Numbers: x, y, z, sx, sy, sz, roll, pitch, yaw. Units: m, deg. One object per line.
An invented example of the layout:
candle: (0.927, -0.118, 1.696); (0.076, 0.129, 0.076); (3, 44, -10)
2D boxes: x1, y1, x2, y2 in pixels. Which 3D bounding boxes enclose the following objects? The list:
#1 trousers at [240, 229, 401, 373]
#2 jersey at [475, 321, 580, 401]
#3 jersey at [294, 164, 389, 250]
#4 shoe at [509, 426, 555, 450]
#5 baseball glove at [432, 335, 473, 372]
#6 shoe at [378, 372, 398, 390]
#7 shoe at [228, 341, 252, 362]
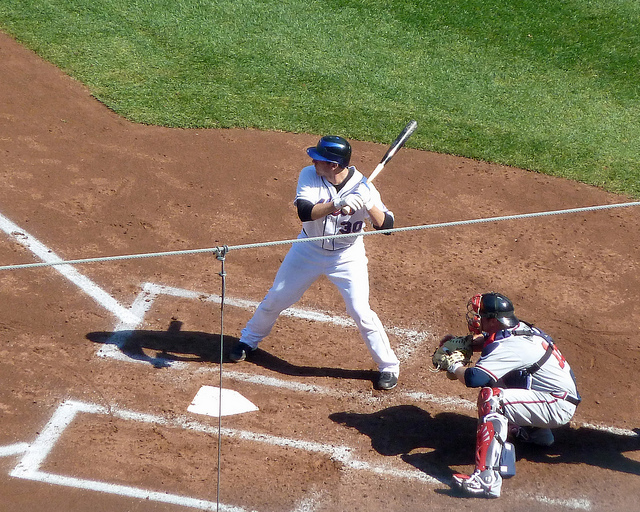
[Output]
trousers: (0.002, 0.559, 10.766); (1.639, 2.041, 0.612); (14, 57, -4)
jersey: (2.127, 1.104, 9.796); (1.049, 0.643, 0.574); (17, 44, 3)
jersey: (0.169, -0.436, 10.649); (1.306, 0.510, 1.177); (0, 12, -5)
shoe: (2.185, 1.852, 9.946); (0.384, 0.220, 0.101); (11, 59, 11)
baseball glove: (1.495, 0.950, 10.158); (0.521, 0.230, 0.595); (0, 27, 9)
shoe: (0.730, 1.330, 10.395); (0.154, 0.081, 0.234); (1, 14, 5)
shoe: (-0.880, 1.026, 10.552); (0.170, 0.107, 0.300); (6, 14, 3)
